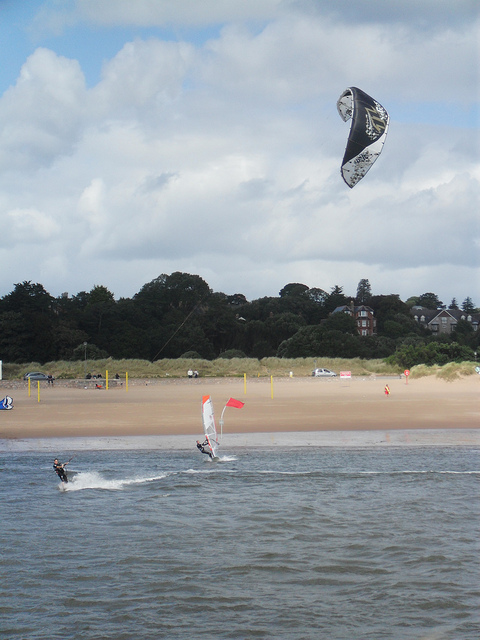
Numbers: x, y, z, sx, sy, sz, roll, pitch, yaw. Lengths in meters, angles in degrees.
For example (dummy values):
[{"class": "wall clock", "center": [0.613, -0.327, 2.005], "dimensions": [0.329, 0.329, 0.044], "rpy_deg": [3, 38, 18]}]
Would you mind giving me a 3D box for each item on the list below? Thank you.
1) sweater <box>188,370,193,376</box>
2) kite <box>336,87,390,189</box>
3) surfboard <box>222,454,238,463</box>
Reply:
[{"class": "sweater", "center": [-3.087, 3.403, 74.151], "dimensions": [0.381, 0.354, 0.209], "rpy_deg": [2, -3, -13]}, {"class": "kite", "center": [4.724, -7.197, 43.695], "dimensions": [1.107, 2.746, 4.052], "rpy_deg": [26, 35, -8]}, {"class": "surfboard", "center": [-0.263, 3.459, 29.092], "dimensions": [0.356, 0.087, 1.040], "rpy_deg": [-1, 8, -1]}]
